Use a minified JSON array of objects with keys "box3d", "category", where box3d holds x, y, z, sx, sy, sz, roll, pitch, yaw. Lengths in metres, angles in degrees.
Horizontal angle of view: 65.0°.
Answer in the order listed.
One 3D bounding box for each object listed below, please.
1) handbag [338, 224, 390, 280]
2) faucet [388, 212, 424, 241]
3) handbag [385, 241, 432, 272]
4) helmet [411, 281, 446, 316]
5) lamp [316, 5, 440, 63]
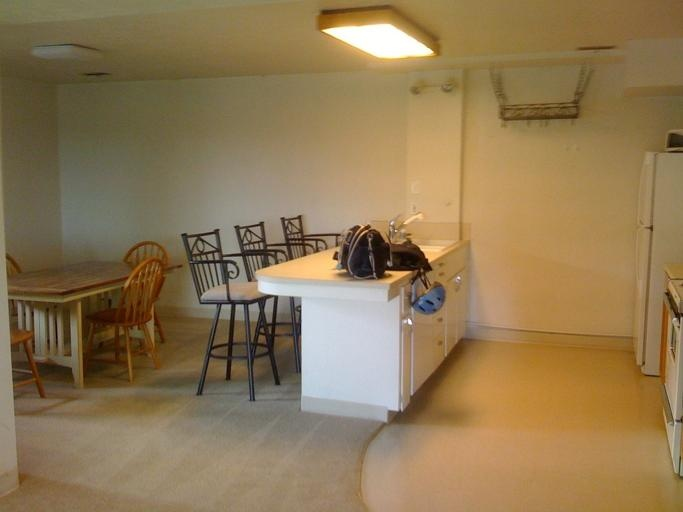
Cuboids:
[{"box3d":[0.108,-0.034,2.887,0.229,0.309,0.414,-2,10,-9],"category":"handbag"},{"box3d":[0.487,-0.214,3.994,0.222,0.209,0.934,2,9,9],"category":"faucet"},{"box3d":[0.377,0.003,3.007,0.200,0.106,0.162,0,-3,8],"category":"handbag"},{"box3d":[0.503,0.245,3.074,0.142,0.112,0.192,-27,13,6],"category":"helmet"},{"box3d":[0.258,-1.287,3.111,0.478,0.152,0.746,6,10,34],"category":"lamp"}]
